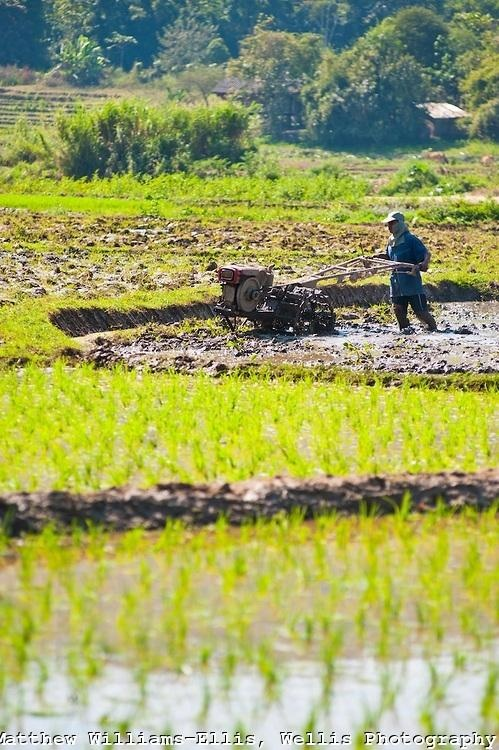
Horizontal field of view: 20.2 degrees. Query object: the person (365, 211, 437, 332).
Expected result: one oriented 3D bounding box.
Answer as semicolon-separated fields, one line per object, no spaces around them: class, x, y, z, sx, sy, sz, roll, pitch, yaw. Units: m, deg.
person;1.468;-0.966;13.119;0.607;1.120;0.955;3;11;5
